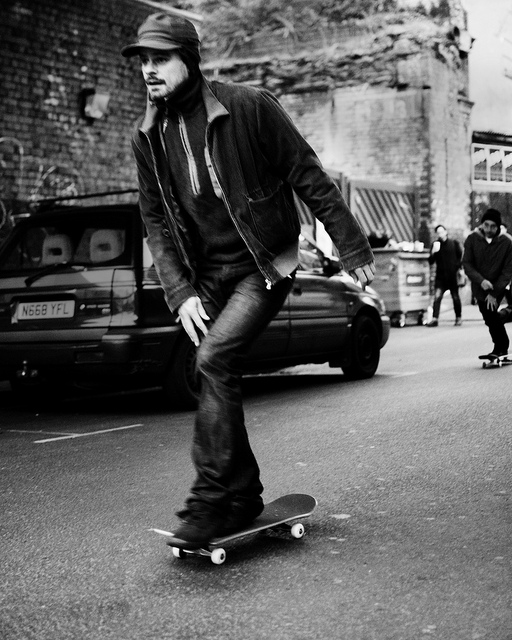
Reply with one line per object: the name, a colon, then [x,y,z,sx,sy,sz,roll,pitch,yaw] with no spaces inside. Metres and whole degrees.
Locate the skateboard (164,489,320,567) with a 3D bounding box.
skateboard: [-0.041,0.768,2.527,0.174,0.138,0.690,5,13,42]

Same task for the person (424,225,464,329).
person: [4.817,-1.130,17.809,0.986,2.594,1.235,-2,-2,16]

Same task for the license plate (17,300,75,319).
license plate: [-1.928,-0.086,6.314,0.672,0.153,0.052,-3,-2,29]

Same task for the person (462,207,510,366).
person: [3.260,-0.523,9.646,0.625,2.029,0.444,-1,-2,-19]

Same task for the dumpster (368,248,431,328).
dumpster: [3.762,-0.820,17.786,1.608,1.976,0.550,-1,-2,-34]

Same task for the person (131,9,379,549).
person: [-0.057,-0.168,2.542,0.761,1.829,0.534,-1,-2,-12]
